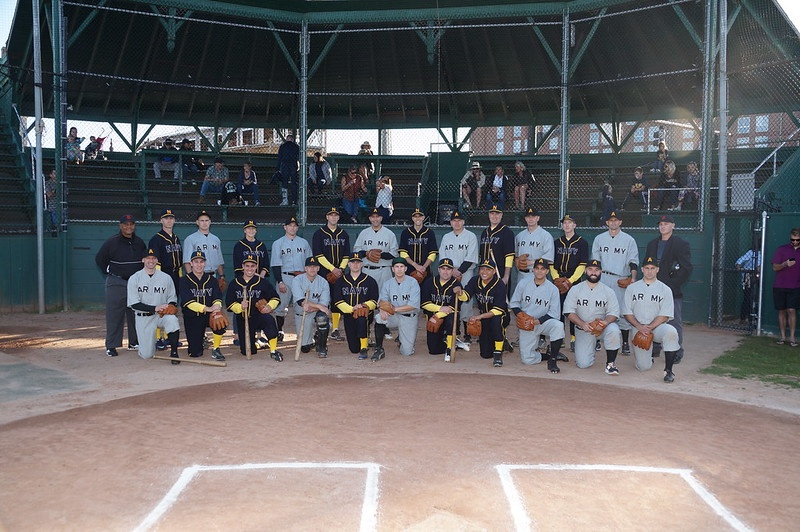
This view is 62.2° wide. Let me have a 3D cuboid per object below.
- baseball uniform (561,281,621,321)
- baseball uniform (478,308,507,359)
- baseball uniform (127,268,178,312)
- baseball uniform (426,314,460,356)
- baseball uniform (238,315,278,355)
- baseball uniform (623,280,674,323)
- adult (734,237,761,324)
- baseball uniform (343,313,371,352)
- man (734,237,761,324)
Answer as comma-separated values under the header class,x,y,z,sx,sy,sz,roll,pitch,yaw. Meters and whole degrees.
class,x,y,z,sx,sy,sz,roll,pitch,yaw
baseball uniform,3.831,0.709,13.309,1.367,1.077,0.745,1,-3,16
baseball uniform,1.927,1.457,13.371,0.457,0.933,0.806,-2,14,-8
baseball uniform,-5.115,0.503,13.586,0.907,0.842,0.504,3,2,-33
baseball uniform,0.866,1.440,13.788,0.740,0.771,0.290,8,-4,-25
baseball uniform,-2.982,1.426,13.852,0.594,1.139,0.677,-12,18,-32
baseball uniform,4.788,0.701,12.762,0.826,0.708,0.397,3,6,19
adult,8.207,0.315,15.688,0.464,2.257,0.975,5,14,19
baseball uniform,-0.876,1.415,13.856,0.405,0.906,0.443,-11,22,-3
man,8.203,0.318,15.676,0.462,2.257,0.951,5,14,19
